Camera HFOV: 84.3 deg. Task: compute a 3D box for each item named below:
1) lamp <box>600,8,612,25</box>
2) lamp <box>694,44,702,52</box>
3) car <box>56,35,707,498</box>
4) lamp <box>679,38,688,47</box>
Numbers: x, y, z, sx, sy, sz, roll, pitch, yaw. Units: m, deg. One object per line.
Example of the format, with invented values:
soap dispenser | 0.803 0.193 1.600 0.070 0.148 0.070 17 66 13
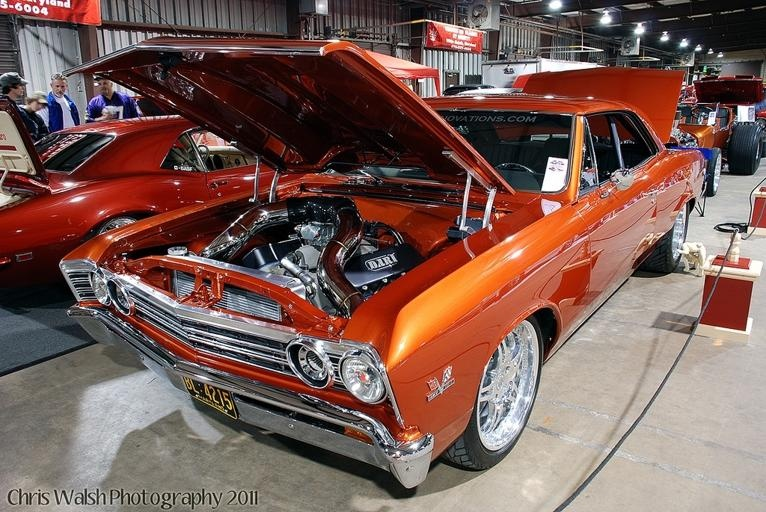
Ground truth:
lamp | 11.793 -12.726 22.398 0.551 0.820 1.690 11 23 23
lamp | 26.326 -17.481 35.537 0.621 0.236 0.799 -4 0 27
car | -0.089 -0.176 2.917 2.701 2.298 2.735 15 26 31
lamp | 23.154 -16.555 32.767 0.625 0.247 0.811 3 33 47
